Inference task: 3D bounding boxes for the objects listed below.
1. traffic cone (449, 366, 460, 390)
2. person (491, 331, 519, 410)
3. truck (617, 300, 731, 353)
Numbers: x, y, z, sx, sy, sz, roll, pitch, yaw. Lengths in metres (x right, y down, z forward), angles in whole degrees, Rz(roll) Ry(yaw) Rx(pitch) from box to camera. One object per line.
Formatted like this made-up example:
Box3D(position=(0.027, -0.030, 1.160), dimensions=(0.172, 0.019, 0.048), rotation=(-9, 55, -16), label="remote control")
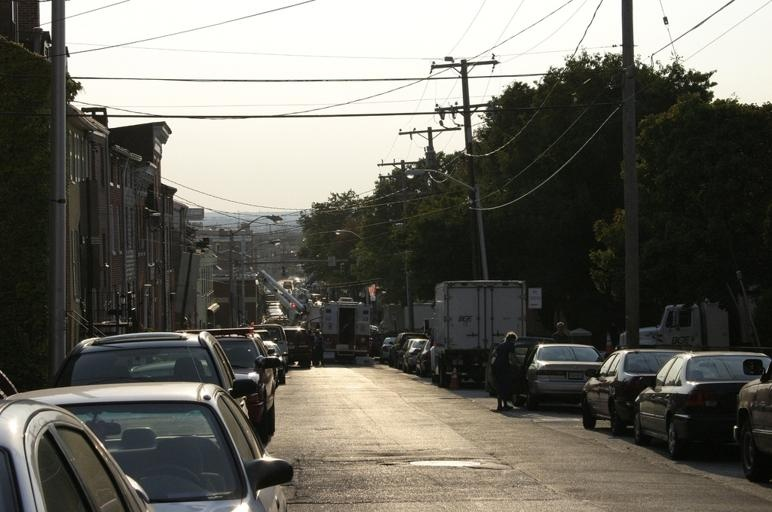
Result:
Box3D(position=(2.628, 4.699, 38.466), dimensions=(0.588, 0.857, 0.622), rotation=(1, -7, -2), label="traffic cone")
Box3D(position=(3.358, 3.261, 28.868), dimensions=(0.752, 2.114, 0.626), rotation=(3, -4, -41), label="person")
Box3D(position=(12.463, 3.114, 43.752), dimensions=(4.541, 2.889, 3.354), rotation=(0, -5, 6), label="truck")
